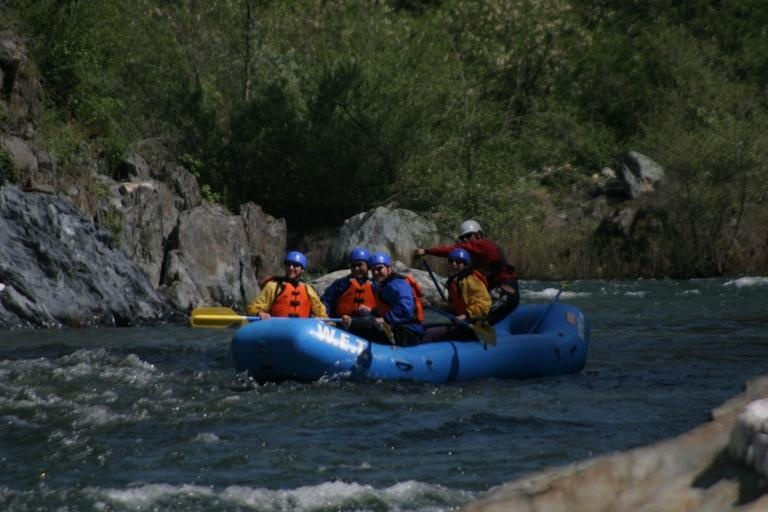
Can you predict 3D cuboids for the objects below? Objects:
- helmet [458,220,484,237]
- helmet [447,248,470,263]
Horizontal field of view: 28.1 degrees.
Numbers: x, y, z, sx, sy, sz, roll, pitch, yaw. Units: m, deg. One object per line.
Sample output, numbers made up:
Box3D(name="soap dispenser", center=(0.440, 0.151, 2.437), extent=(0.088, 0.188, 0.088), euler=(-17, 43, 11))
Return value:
Box3D(name="helmet", center=(2.205, -0.728, 39.539), extent=(0.480, 0.385, 0.440), euler=(-6, 3, 19))
Box3D(name="helmet", center=(1.883, -0.048, 38.377), extent=(0.489, 0.248, 0.347), euler=(22, 0, -29))
